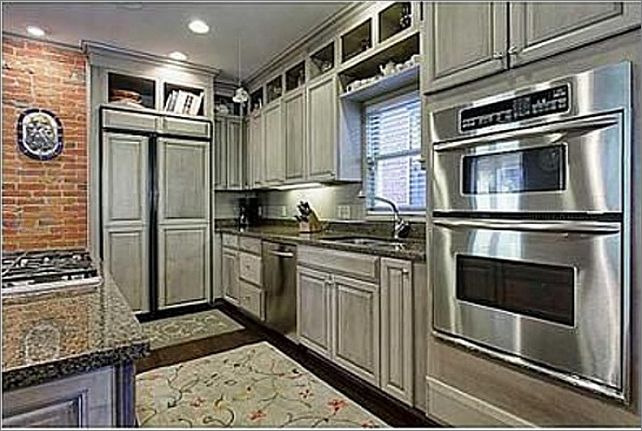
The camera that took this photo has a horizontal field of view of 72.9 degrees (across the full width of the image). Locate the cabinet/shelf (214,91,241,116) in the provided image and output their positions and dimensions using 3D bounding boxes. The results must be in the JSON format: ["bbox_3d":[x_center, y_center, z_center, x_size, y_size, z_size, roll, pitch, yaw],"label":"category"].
[{"bbox_3d":[-1.167,-1.361,5.399,0.404,0.254,0.364,6,4,-13],"label":"cabinet/shelf"}]

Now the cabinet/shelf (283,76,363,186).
[{"bbox_3d":[0.049,-0.797,4.084,0.476,1.091,1.212,1,0,-28],"label":"cabinet/shelf"}]

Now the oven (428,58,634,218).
[{"bbox_3d":[1.351,-0.350,2.693,0.708,0.752,1.181,4,-2,-36],"label":"oven"}]

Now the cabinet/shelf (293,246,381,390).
[{"bbox_3d":[0.288,0.723,3.502,0.551,0.971,1.100,-5,5,-37],"label":"cabinet/shelf"}]

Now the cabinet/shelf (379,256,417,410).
[{"bbox_3d":[0.525,0.767,2.943,0.137,0.944,0.357,-9,14,-41],"label":"cabinet/shelf"}]

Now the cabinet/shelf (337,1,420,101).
[{"bbox_3d":[0.495,-1.391,3.610,0.265,0.740,0.852,8,-7,-30],"label":"cabinet/shelf"}]

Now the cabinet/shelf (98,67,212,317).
[{"bbox_3d":[-1.697,-0.086,4.567,1.195,2.178,0.442,-5,12,-27],"label":"cabinet/shelf"}]

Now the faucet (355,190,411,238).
[{"bbox_3d":[0.520,0.008,3.607,0.431,0.363,0.207,4,9,4],"label":"faucet"}]

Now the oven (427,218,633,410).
[{"bbox_3d":[1.392,0.454,2.694,0.679,0.937,1.214,-2,1,-28],"label":"oven"}]

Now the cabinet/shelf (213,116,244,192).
[{"bbox_3d":[-1.124,-0.780,5.321,0.404,0.898,0.159,-5,11,-23],"label":"cabinet/shelf"}]
